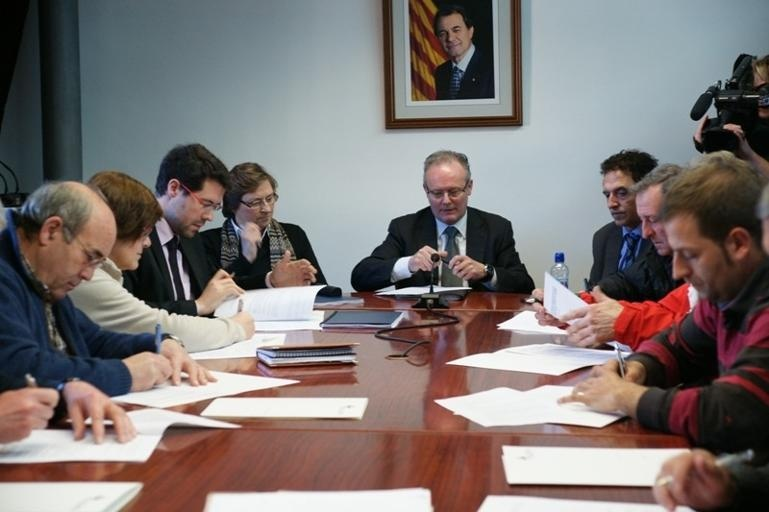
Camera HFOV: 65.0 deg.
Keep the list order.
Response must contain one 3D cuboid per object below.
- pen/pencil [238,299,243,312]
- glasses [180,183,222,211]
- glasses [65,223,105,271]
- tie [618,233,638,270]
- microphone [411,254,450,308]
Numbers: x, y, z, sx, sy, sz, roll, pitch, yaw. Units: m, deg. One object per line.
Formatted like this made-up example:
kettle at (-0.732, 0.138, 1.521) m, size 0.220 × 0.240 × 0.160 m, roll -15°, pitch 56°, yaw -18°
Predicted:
pen/pencil at (-0.648, 0.228, 2.734) m, size 0.018 × 0.018 × 0.068 m, roll 15°, pitch 43°, yaw -20°
glasses at (-0.917, -0.304, 3.101) m, size 0.089 × 0.141 × 0.215 m, roll 9°, pitch 15°, yaw 41°
glasses at (-0.953, -0.021, 1.910) m, size 0.057 × 0.120 × 0.089 m, roll -36°, pitch -6°, yaw 25°
tie at (1.413, -0.015, 3.521) m, size 0.049 × 0.084 × 0.296 m, roll -8°, pitch 30°, yaw 30°
microphone at (0.265, 0.139, 3.022) m, size 0.174 × 0.291 × 0.256 m, roll 2°, pitch 6°, yaw 7°
